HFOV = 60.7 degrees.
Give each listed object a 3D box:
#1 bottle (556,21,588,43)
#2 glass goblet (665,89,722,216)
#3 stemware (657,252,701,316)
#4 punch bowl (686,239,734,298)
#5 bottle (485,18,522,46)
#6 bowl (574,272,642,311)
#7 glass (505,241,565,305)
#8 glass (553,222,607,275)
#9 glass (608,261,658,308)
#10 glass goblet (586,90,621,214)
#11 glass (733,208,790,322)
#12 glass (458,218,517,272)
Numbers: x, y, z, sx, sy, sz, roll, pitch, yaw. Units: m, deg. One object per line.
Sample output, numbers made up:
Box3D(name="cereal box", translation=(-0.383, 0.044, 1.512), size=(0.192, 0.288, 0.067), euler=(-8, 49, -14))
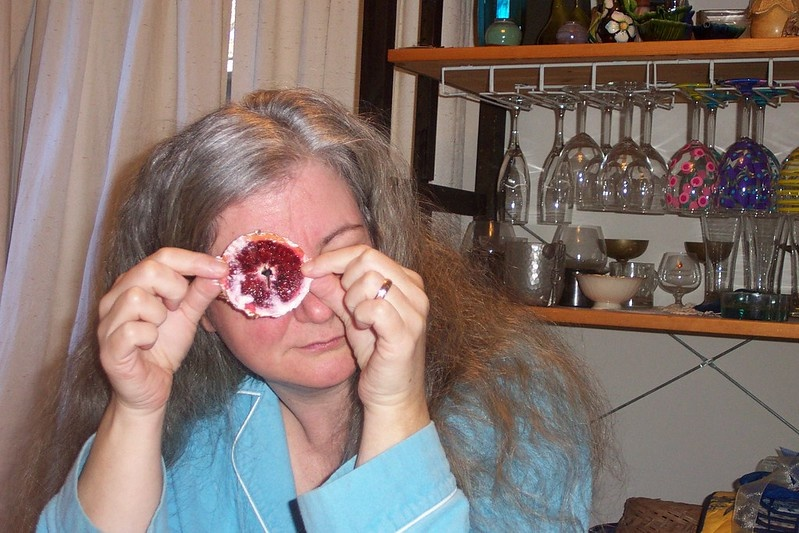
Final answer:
Box3D(name="bottle", translation=(0.538, -0.712, 2.095), size=(0.083, 0.067, 0.081), euler=(2, 6, -4))
Box3D(name="glass goblet", translation=(0.981, -0.369, 2.251), size=(0.152, 0.394, 0.418), euler=(7, 7, 21))
Box3D(name="stemware", translation=(0.962, 0.049, 2.327), size=(0.152, 0.202, 0.140), euler=(4, 13, 29))
Box3D(name="punch bowl", translation=(1.079, 0.026, 2.327), size=(0.210, 0.210, 0.207), euler=(-2, -3, 0))
Box3D(name="bottle", translation=(0.341, -0.739, 2.243), size=(0.101, 0.107, 0.099), euler=(-4, -17, 16))
Box3D(name="bowl", translation=(0.674, 0.075, 2.209), size=(0.140, 0.069, 0.138), euler=(2, 1, 0))
Box3D(name="glass", translation=(0.456, 0.025, 2.309), size=(0.180, 0.226, 0.226), euler=(-3, 9, -29))
Box3D(name="glass", translation=(0.640, -0.062, 2.343), size=(0.176, 0.161, 0.174), euler=(-2, 3, -33))
Box3D(name="glass", translation=(0.811, 0.064, 2.350), size=(0.158, 0.173, 0.180), euler=(1, -1, -27))
Box3D(name="glass goblet", translation=(0.706, -0.389, 2.306), size=(0.167, 0.376, 0.151), euler=(0, 9, 11))
Box3D(name="glass", translation=(1.163, -0.012, 2.158), size=(0.178, 0.318, 0.440), euler=(8, 8, 29))
Box3D(name="glass", translation=(0.303, -0.070, 2.310), size=(0.183, 0.166, 0.178), euler=(1, -4, 4))
